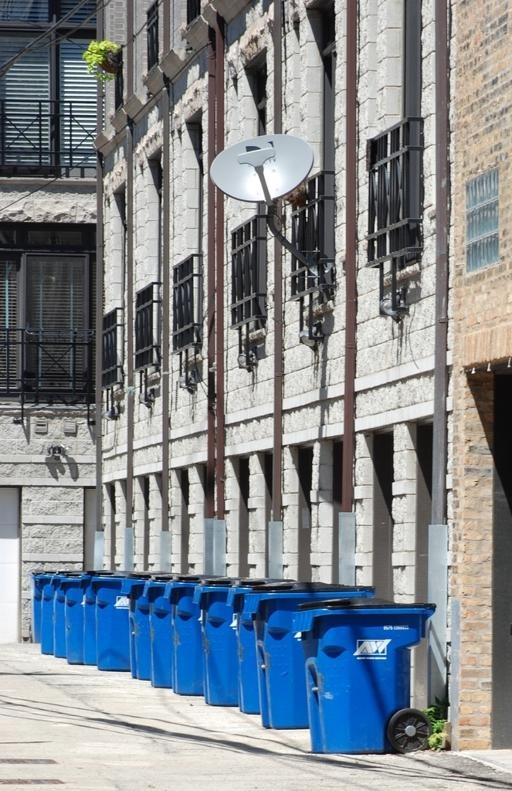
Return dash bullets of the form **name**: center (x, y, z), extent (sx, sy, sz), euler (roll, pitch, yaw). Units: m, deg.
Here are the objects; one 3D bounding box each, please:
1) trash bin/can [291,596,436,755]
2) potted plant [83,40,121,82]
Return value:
- **trash bin/can**: center (0.722, 1.836, 13.823), extent (0.784, 1.321, 0.734), euler (0, -2, -17)
- **potted plant**: center (-1.966, -4.470, 28.270), extent (0.500, 0.775, 0.604), euler (0, 6, 19)
